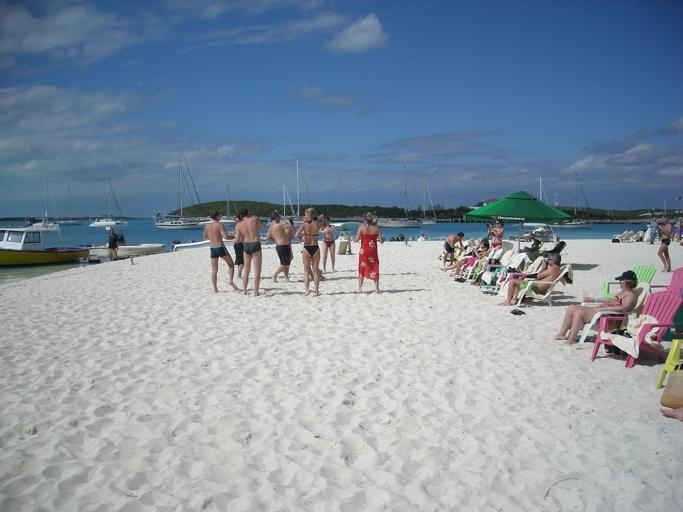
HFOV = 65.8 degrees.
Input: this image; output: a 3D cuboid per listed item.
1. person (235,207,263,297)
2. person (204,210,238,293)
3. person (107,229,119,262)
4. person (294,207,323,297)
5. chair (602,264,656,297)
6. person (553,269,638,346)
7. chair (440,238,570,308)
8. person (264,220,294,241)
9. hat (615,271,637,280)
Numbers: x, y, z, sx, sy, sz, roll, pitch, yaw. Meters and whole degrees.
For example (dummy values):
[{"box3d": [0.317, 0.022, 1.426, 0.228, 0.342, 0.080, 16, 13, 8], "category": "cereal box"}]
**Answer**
[{"box3d": [-2.016, -0.087, 11.547, 0.567, 1.862, 1.055, -2, 8, -10], "category": "person"}, {"box3d": [-2.758, -0.090, 12.016, 0.692, 1.846, 0.890, -2, 9, -12], "category": "person"}, {"box3d": [-10.761, -0.521, 24.851, 0.409, 1.528, 1.509, -4, 9, -24], "category": "person"}, {"box3d": [-0.721, -0.109, 11.620, 0.491, 1.894, 1.184, -1, 8, -2], "category": "person"}, {"box3d": [5.534, 0.483, 10.206, 0.725, 0.998, 0.655, 0, -1, -18], "category": "chair"}, {"box3d": [3.885, 0.734, 8.045, 1.436, 1.049, 0.844, -8, 5, 11], "category": "person"}, {"box3d": [3.869, 0.359, 11.201, 1.618, 1.009, 2.468, 1, 8, 10], "category": "chair"}, {"box3d": [-1.343, -0.532, 11.631, 0.518, 0.425, 1.219, 1, 8, 6], "category": "person"}, {"box3d": [4.235, 0.299, 7.817, 0.196, 0.150, 0.455, 3, 9, 20], "category": "hat"}]
